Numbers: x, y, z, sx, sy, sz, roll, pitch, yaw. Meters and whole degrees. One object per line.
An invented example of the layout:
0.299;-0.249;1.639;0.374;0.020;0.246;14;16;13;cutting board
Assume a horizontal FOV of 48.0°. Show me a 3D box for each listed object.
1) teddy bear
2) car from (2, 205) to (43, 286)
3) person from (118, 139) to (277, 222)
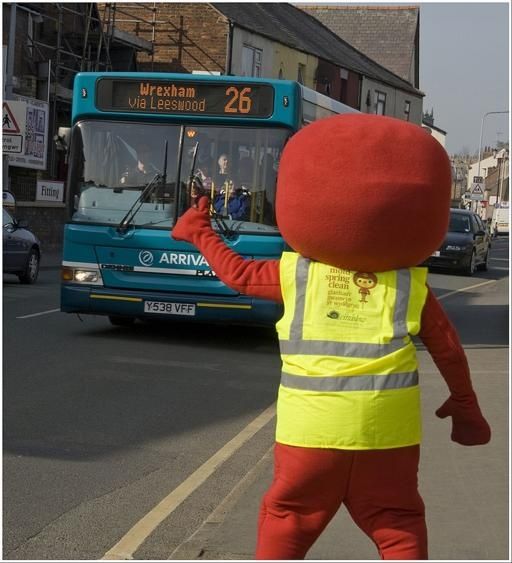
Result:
0.293;0.157;1.684;0.872;1.301;0.466;2;3;-6;teddy bear
-6.193;-0.901;15.068;0.652;1.954;1.666;2;3;-4;car
-0.746;-1.540;8.325;2.185;1.135;0.887;1;3;15;person
